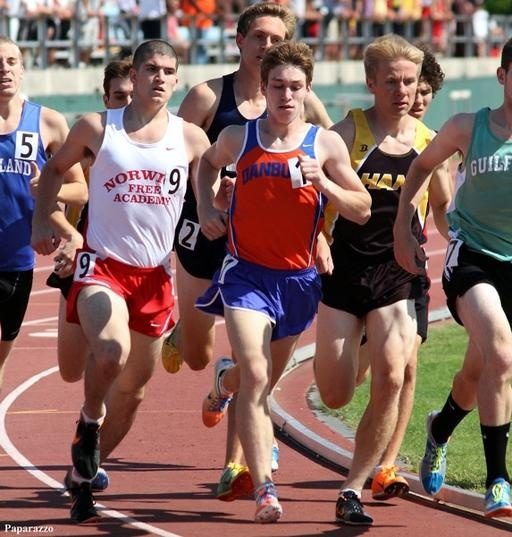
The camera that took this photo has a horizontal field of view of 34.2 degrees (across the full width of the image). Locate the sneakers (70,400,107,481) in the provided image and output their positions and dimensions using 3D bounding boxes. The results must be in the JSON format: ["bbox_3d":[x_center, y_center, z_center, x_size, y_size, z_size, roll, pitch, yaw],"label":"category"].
[{"bbox_3d":[-0.752,0.765,3.654,0.101,0.341,0.139,10,-35,-25],"label":"sneakers"}]

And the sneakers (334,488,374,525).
[{"bbox_3d":[0.440,1.067,3.683,0.176,0.162,0.141,1,3,15],"label":"sneakers"}]

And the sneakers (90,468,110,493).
[{"bbox_3d":[-0.780,1.054,4.100,0.103,0.081,0.191,-1,11,-2],"label":"sneakers"}]

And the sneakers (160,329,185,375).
[{"bbox_3d":[-0.587,0.605,5.707,0.120,0.380,0.157,1,23,6],"label":"sneakers"}]

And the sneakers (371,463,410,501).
[{"bbox_3d":[0.644,1.016,3.955,0.088,0.135,0.258,2,-18,-17],"label":"sneakers"}]

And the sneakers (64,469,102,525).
[{"bbox_3d":[-0.777,0.999,3.662,0.085,0.127,0.270,1,19,-22],"label":"sneakers"}]

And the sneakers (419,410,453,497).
[{"bbox_3d":[0.933,0.931,4.217,0.109,0.405,0.150,6,-25,-2],"label":"sneakers"}]
